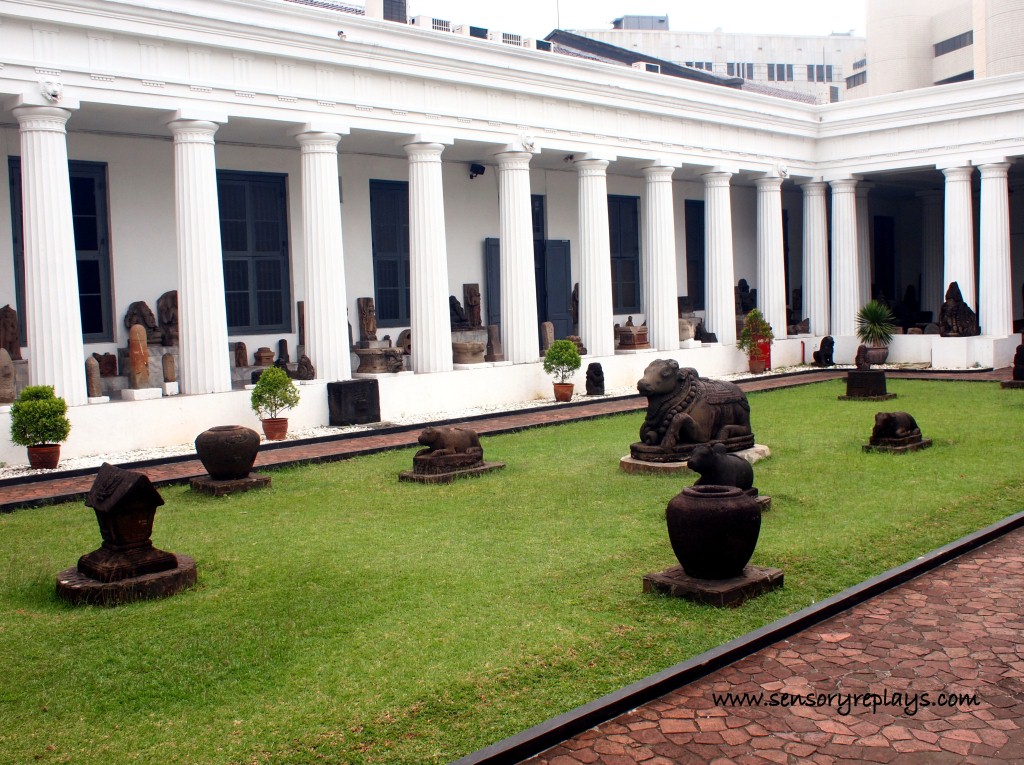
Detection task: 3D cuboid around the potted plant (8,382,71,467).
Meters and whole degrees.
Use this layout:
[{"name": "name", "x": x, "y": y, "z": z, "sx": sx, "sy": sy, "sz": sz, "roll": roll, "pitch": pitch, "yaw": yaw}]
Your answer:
[{"name": "potted plant", "x": -7.318, "y": 0.705, "z": 12.938, "sx": 0.808, "sy": 0.869, "sz": 0.535, "roll": -6, "pitch": 5, "yaw": -20}]

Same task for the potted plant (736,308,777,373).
[{"name": "potted plant", "x": 7.320, "y": -1.243, "z": 25.236, "sx": 0.937, "sy": 1.918, "sz": 1.373, "roll": -3, "pitch": 5, "yaw": 16}]

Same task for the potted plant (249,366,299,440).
[{"name": "potted plant", "x": -4.429, "y": 0.372, "z": 15.546, "sx": 0.862, "sy": 1.324, "sz": 0.911, "roll": -5, "pitch": 5, "yaw": -10}]
